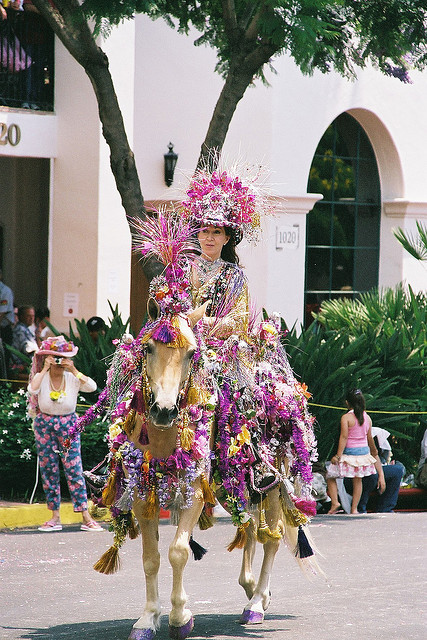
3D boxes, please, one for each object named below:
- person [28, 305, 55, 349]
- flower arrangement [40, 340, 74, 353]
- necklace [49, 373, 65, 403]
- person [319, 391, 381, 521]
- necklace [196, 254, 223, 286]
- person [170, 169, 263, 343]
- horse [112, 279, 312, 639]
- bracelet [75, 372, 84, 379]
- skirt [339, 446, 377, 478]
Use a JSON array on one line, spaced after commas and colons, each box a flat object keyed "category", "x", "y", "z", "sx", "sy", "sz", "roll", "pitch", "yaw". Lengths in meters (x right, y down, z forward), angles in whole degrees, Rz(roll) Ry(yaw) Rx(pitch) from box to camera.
[{"category": "person", "x": -2.053, "y": 0.089, "z": 13.836, "sx": 0.320, "sy": 0.384, "sz": 0.941, "roll": -10, "pitch": 1, "yaw": -8}, {"category": "flower arrangement", "x": -1.357, "y": 0.221, "z": 10.055, "sx": 0.288, "sy": 0.107, "sz": 0.241, "roll": -3, "pitch": 7, "yaw": -9}, {"category": "necklace", "x": -1.342, "y": 0.591, "z": 9.983, "sx": 0.132, "sy": 0.211, "sz": 0.146, "roll": -3, "pitch": 7, "yaw": -8}, {"category": "person", "x": 1.393, "y": 1.363, "z": 11.984, "sx": 0.615, "sy": 1.269, "sz": 0.383, "roll": -2, "pitch": 8, "yaw": 2}, {"category": "necklace", "x": -0.031, "y": -0.308, "z": 7.168, "sx": 0.157, "sy": 0.175, "sz": 0.197, "roll": -2, "pitch": 7, "yaw": 3}, {"category": "person", "x": -0.014, "y": -0.374, "z": 7.281, "sx": 0.574, "sy": 1.196, "sz": 0.433, "roll": 6, "pitch": 11, "yaw": 2}, {"category": "horse", "x": -0.063, "y": 0.762, "z": 6.631, "sx": 0.796, "sy": 2.027, "sz": 1.659, "roll": 0, "pitch": 8, "yaw": 19}, {"category": "bracelet", "x": -1.173, "y": 0.481, "z": 10.112, "sx": 0.037, "sy": 0.043, "sz": 0.044, "roll": 6, "pitch": 33, "yaw": 14}, {"category": "skirt", "x": 1.459, "y": 1.446, "z": 11.901, "sx": 0.324, "sy": 0.224, "sz": 0.326, "roll": -1, "pitch": -11, "yaw": -1}]
